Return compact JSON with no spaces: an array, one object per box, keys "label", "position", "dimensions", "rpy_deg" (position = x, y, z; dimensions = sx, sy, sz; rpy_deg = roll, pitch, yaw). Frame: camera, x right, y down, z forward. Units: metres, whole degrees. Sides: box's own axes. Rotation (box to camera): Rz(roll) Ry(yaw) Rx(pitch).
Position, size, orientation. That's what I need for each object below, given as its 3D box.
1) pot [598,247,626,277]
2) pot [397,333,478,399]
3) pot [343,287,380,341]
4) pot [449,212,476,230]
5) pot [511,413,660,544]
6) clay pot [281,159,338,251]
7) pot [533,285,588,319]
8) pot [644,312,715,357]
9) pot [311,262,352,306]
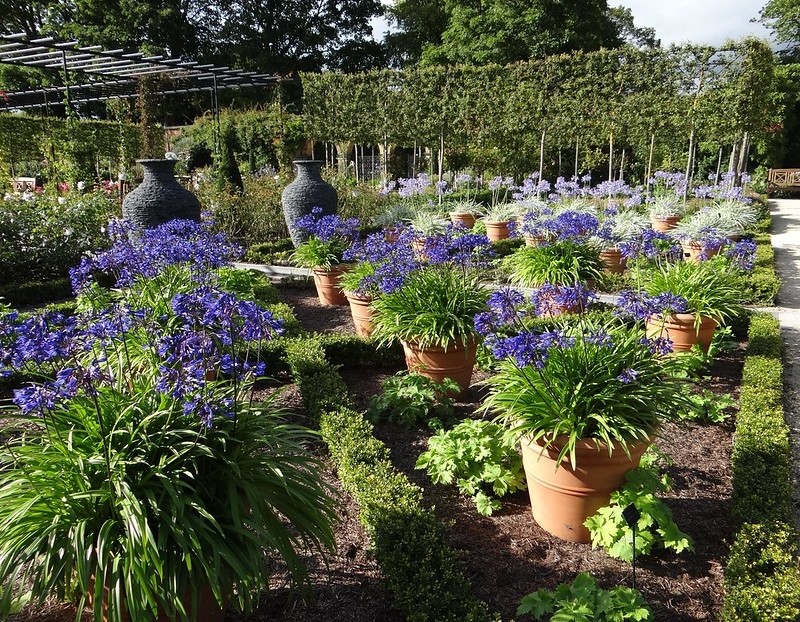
[{"label":"pot","position":[2.948,-0.707,8.551],"dimensions":[0.408,0.336,0.412],"rpy_deg":[-5,9,1]},{"label":"pot","position":[0.376,0.459,5.569],"dimensions":[0.557,0.432,0.572],"rpy_deg":[-2,0,0]},{"label":"pot","position":[-0.390,0.036,6.743],"dimensions":[0.442,0.480,0.441],"rpy_deg":[0,14,0]},{"label":"pot","position":[1.365,-1.965,12.812],"dimensions":[0.537,0.420,0.550],"rpy_deg":[0,4,0]},{"label":"pot","position":[1.226,1.084,3.948],"dimensions":[0.728,0.557,0.725],"rpy_deg":[1,0,0]},{"label":"clay pot","position":[-1.545,-1.798,10.409],"dimensions":[0.915,1.557,0.915],"rpy_deg":[3,22,-1]},{"label":"pot","position":[1.209,-0.070,4.597],"dimensions":[0.330,0.242,0.326],"rpy_deg":[-2,9,0]},{"label":"pot","position":[2.472,0.186,5.389],"dimensions":[0.406,0.245,0.416],"rpy_deg":[-1,1,0]},{"label":"pot","position":[-0.951,-0.381,8.296],"dimensions":[0.527,0.420,0.539],"rpy_deg":[-2,7,0]}]
